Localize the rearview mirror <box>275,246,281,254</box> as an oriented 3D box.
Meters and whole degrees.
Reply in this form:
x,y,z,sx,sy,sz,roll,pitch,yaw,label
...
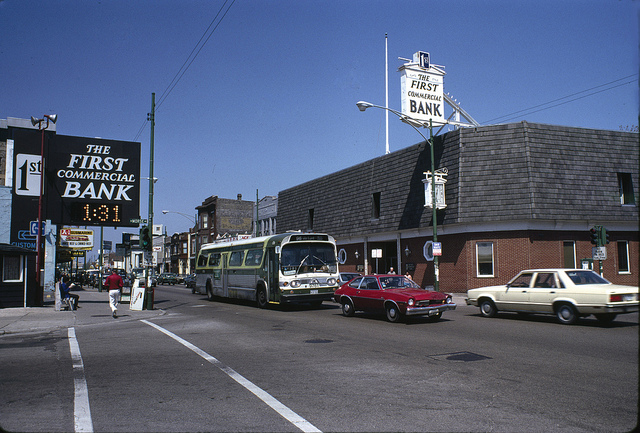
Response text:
x,y,z,sx,sy,sz,roll,pitch,yaw,label
-2.001,1.595,24.255,0.089,0.342,0.396,3,-8,-30,rearview mirror

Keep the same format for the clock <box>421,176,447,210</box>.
x,y,z,sx,sy,sz,roll,pitch,yaw,label
7.382,-1.508,32.869,1.375,2.132,1.508,0,-6,-6,clock

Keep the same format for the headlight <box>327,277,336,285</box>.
x,y,z,sx,sy,sz,roll,pitch,yaw,label
0.543,3.117,24.689,0.464,0.362,0.096,4,-8,-38,headlight

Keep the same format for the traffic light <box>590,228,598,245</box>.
x,y,z,sx,sy,sz,roll,pitch,yaw,label
13.475,0.970,25.280,0.260,0.771,0.526,-3,-7,20,traffic light

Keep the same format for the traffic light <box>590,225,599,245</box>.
x,y,z,sx,sy,sz,roll,pitch,yaw,label
13.600,0.980,25.462,0.347,0.919,0.941,-4,-7,25,traffic light

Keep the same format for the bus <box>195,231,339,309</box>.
x,y,z,sx,sy,sz,roll,pitch,yaw,label
-3.309,3.226,29.177,3.198,3.579,11.514,3,-11,-28,bus

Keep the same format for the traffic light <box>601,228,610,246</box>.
x,y,z,sx,sy,sz,roll,pitch,yaw,label
13.910,0.998,25.178,0.208,0.799,0.700,-5,-8,36,traffic light

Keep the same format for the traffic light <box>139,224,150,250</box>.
x,y,z,sx,sy,sz,roll,pitch,yaw,label
-8.977,1.098,26.269,0.453,1.193,0.725,1,-7,-21,traffic light

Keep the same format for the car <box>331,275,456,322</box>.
x,y,z,sx,sy,sz,roll,pitch,yaw,label
2.894,3.294,20.855,1.737,1.817,4.508,4,-9,-37,car

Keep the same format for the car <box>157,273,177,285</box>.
x,y,z,sx,sy,sz,roll,pitch,yaw,label
-20.631,8.454,68.680,1.315,1.020,2.956,2,-3,-24,car

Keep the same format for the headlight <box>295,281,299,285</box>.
x,y,z,sx,sy,sz,roll,pitch,yaw,label
-1.106,3.135,23.902,0.145,0.148,0.036,-24,-5,1,headlight

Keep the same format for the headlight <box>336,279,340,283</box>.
x,y,z,sx,sy,sz,roll,pitch,yaw,label
0.844,3.153,25.007,0.230,0.084,0.237,-3,7,-17,headlight
